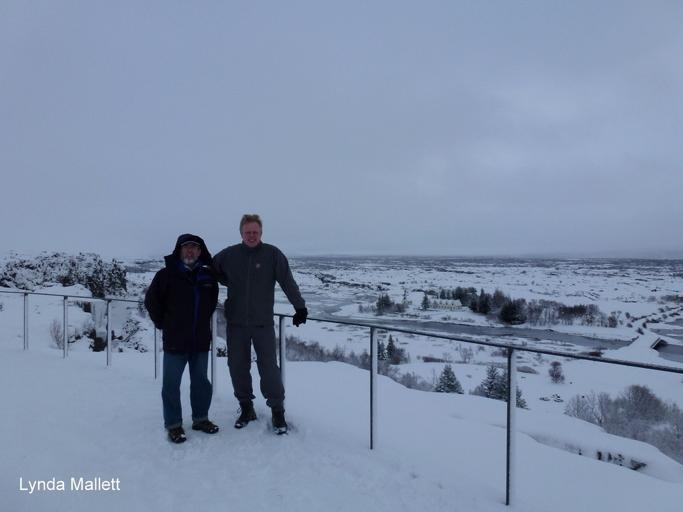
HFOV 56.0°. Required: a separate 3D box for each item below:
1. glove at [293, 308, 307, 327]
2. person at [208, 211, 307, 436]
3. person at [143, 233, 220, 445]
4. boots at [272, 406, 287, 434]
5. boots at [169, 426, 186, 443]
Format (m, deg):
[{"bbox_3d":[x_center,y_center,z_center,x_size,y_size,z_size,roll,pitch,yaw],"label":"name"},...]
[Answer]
[{"bbox_3d":[-0.523,0.767,7.937,0.181,0.308,0.193,6,-11,-16],"label":"glove"},{"bbox_3d":[-1.063,0.779,7.996,1.082,2.526,0.687,0,11,-7],"label":"person"},{"bbox_3d":[-1.907,0.945,7.770,0.875,2.361,0.697,-2,11,-19],"label":"person"},{"bbox_3d":[-0.762,1.989,7.877,0.191,0.283,0.199,0,11,-7],"label":"boots"},{"bbox_3d":[-1.960,2.108,7.633,0.097,0.156,0.307,7,-20,-32],"label":"boots"}]
